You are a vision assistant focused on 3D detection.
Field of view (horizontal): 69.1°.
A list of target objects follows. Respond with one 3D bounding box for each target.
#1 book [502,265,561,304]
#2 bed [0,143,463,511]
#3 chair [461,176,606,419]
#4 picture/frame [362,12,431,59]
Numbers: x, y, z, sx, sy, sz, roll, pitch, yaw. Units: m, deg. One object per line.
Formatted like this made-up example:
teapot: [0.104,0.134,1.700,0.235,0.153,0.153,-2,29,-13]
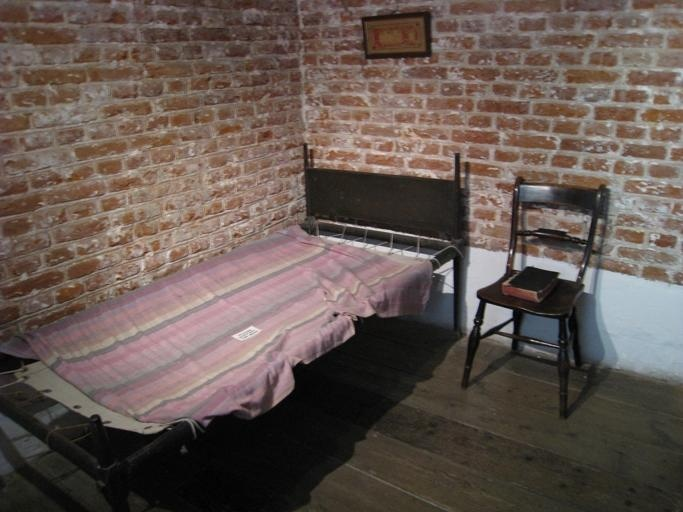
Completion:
book: [1.035,0.154,2.691,0.262,0.048,0.236,12,29,39]
bed: [-0.511,0.074,2.671,1.373,1.189,2.465,20,27,39]
chair: [1.095,0.180,2.737,0.626,1.175,0.785,13,27,24]
picture/frame: [0.317,-1.332,3.010,0.564,0.250,0.045,-22,37,-32]
